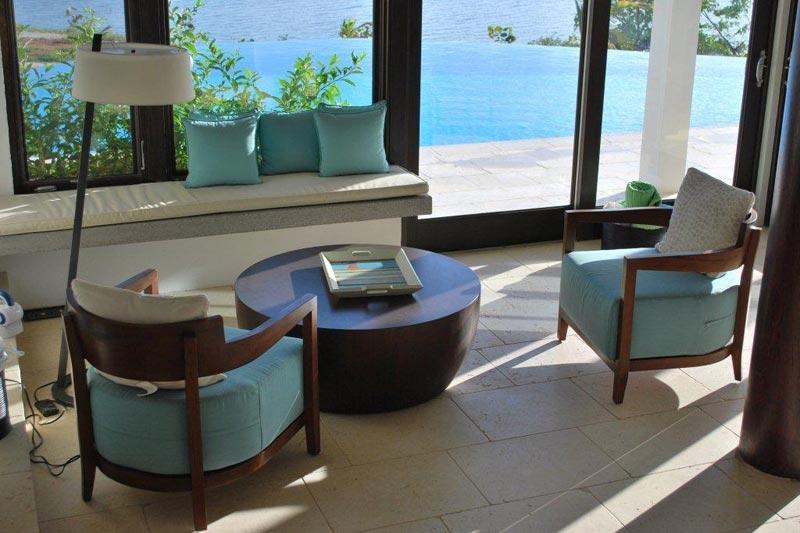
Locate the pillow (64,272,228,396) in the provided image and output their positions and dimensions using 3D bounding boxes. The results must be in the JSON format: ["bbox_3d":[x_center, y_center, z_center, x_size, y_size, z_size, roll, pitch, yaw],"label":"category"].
[{"bbox_3d":[-0.965,0.219,2.397,0.501,0.652,0.517,4,37,-6],"label":"pillow"}]

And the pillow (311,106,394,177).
[{"bbox_3d":[-0.372,-1.001,4.690,0.606,0.558,0.221,-8,21,-22],"label":"pillow"}]

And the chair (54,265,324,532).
[{"bbox_3d":[-0.805,0.453,2.807,1.015,1.050,1.094,9,22,23],"label":"chair"}]

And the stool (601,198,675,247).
[{"bbox_3d":[1.828,-0.335,4.599,0.407,0.294,0.401,-5,20,-9],"label":"stool"}]

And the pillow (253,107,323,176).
[{"bbox_3d":[-0.858,-0.992,4.705,0.551,0.489,0.204,1,7,11],"label":"pillow"}]

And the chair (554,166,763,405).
[{"bbox_3d":[1.483,0.043,3.447,0.921,1.124,0.805,-7,23,-9],"label":"chair"}]

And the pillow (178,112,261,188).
[{"bbox_3d":[-1.304,-0.869,4.412,0.582,0.537,0.206,-4,13,-15],"label":"pillow"}]
